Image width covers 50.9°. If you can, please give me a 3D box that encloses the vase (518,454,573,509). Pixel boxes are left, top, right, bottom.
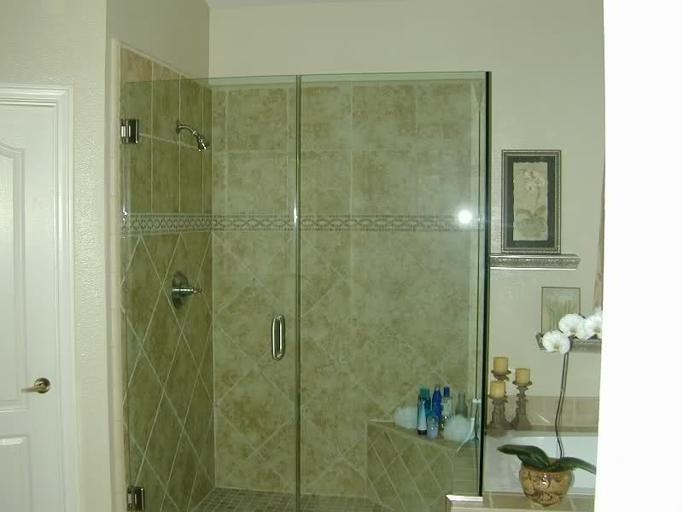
[{"bbox_3d":[0.908,0.981,3.145,0.170,0.149,0.183,1,-1,-11],"label":"vase"}]

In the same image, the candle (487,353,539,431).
[{"bbox_3d":[0.907,0.753,4.043,0.314,0.426,0.340,1,4,23],"label":"candle"}]

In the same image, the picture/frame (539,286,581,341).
[{"bbox_3d":[1.158,0.296,3.773,0.262,0.421,0.019,0,3,8],"label":"picture/frame"}]

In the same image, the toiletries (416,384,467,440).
[{"bbox_3d":[0.491,0.782,3.622,0.258,0.305,0.199,1,-2,2],"label":"toiletries"}]
